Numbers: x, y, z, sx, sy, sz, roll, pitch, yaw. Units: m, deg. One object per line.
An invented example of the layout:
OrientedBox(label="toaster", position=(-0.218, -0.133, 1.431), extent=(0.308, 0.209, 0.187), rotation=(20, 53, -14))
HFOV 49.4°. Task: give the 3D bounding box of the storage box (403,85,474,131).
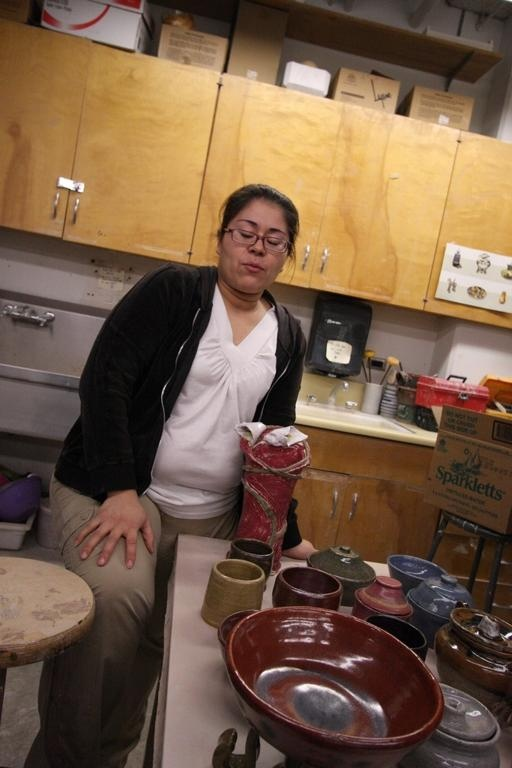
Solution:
OrientedBox(label="storage box", position=(0.926, -1.398, 2.779), extent=(0.288, 0.123, 0.287), rotation=(18, 16, -2))

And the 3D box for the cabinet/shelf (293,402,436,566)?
OrientedBox(label="cabinet/shelf", position=(0.451, 0.433, 2.291), extent=(0.637, 0.595, 0.356), rotation=(8, 12, -1))

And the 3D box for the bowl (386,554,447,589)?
OrientedBox(label="bowl", position=(0.284, 0.327, 0.992), extent=(0.068, 0.031, 0.068), rotation=(8, 14, -2))

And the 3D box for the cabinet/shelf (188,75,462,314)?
OrientedBox(label="cabinet/shelf", position=(0.307, -0.879, 2.490), extent=(1.171, 0.875, 0.447), rotation=(11, 9, -7))
